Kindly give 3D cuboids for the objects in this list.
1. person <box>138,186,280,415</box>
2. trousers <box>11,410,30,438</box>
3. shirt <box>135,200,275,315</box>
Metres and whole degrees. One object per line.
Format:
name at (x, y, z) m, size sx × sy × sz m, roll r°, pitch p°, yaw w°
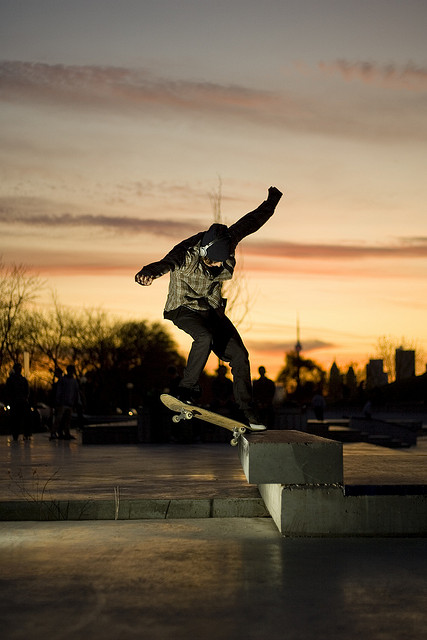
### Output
person at (0.016, -0.148, 6.913) m, size 0.844 × 1.899 × 1.390 m, roll 1°, pitch -2°, yaw 8°
trousers at (-3.834, 2.095, 17.017) m, size 0.365 × 0.578 × 0.729 m, roll 2°, pitch -2°, yaw -12°
shirt at (-0.088, -0.376, 6.411) m, size 0.331 × 1.200 × 0.582 m, roll 47°, pitch -20°, yaw 27°
